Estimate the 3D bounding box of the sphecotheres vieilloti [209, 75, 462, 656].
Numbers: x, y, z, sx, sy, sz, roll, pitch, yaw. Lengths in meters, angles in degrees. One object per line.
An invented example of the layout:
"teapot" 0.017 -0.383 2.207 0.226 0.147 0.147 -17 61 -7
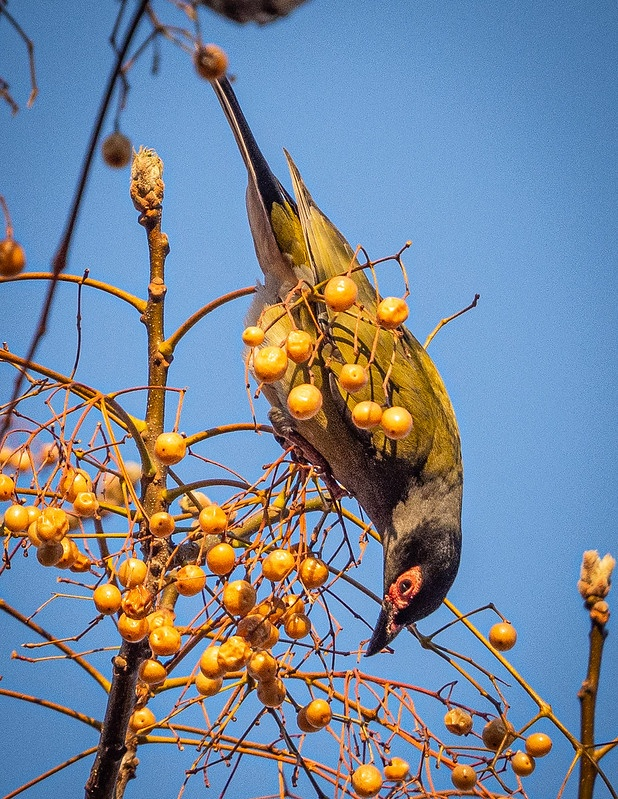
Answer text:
"sphecotheres vieilloti" 0.100 0.004 4.434 0.492 0.430 1.743 -6 -85 34
